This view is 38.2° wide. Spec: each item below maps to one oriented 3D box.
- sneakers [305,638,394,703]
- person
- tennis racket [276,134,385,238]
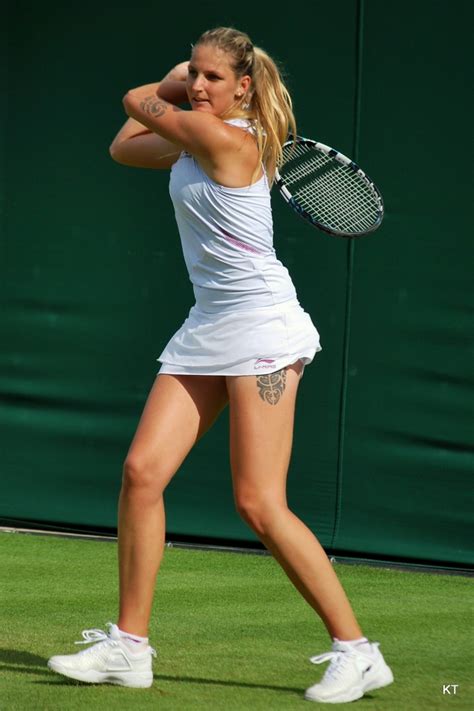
[{"bbox_3d":[0.229,0.625,1.404,0.201,0.117,0.090,-3,-1,-33],"label":"sneakers"},{"bbox_3d":[0.022,0.014,1.442,0.667,1.385,0.489,6,12,2],"label":"person"},{"bbox_3d":[0.378,-0.582,2.457,0.298,0.064,0.570,-21,-26,26],"label":"tennis racket"}]
